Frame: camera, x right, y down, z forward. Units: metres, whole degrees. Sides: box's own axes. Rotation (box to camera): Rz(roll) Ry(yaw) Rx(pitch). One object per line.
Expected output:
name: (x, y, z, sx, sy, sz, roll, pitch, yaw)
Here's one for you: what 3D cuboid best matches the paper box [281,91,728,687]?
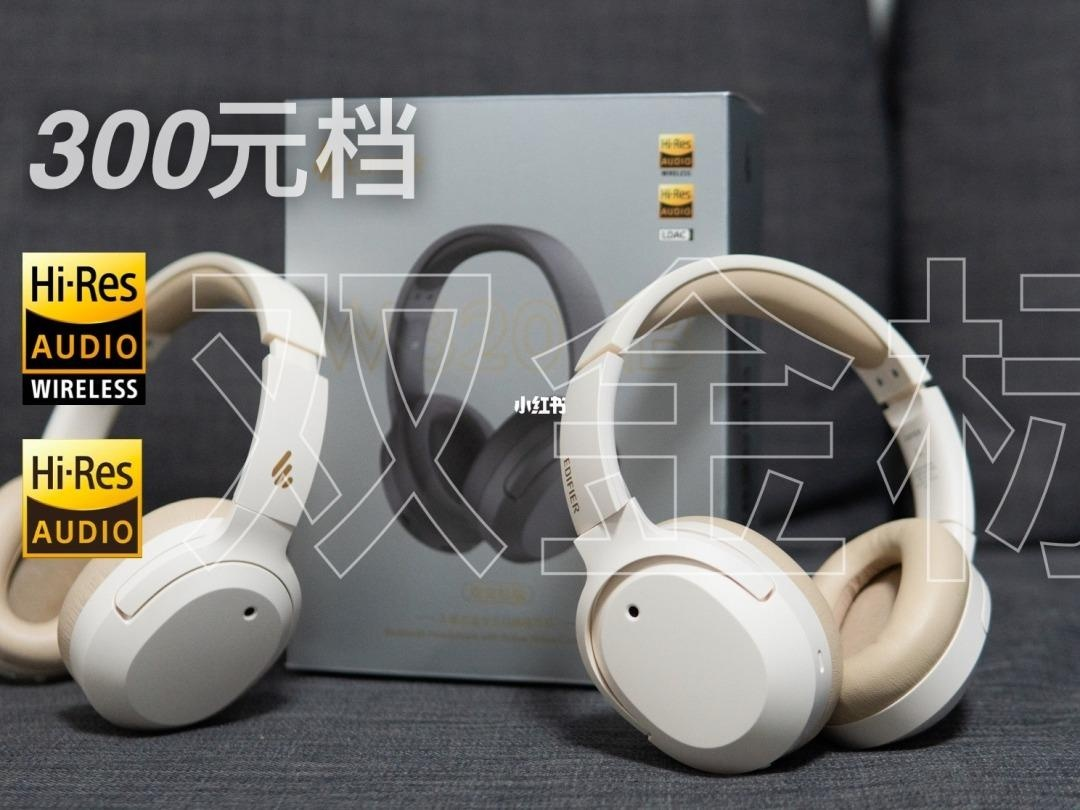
paper box: (-0.032, -0.041, 2.173, 0.777, 1.219, 0.269, 0, 1, 15)
